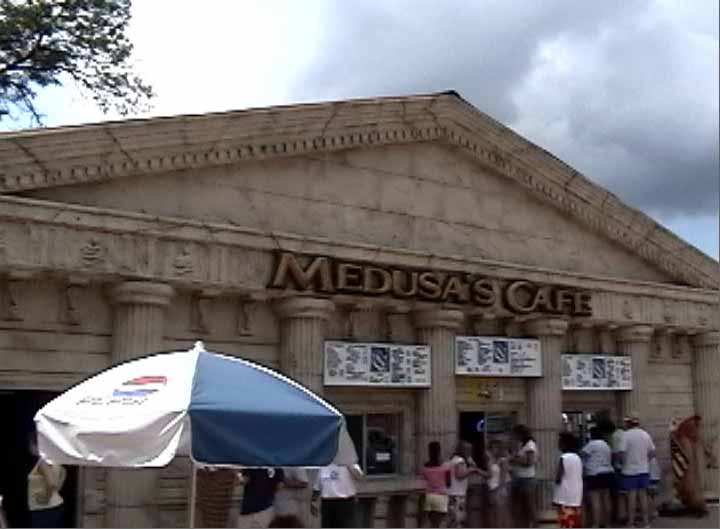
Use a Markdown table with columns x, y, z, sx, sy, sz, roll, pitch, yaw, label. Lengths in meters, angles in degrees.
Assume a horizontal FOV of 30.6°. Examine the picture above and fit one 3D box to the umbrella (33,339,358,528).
| x | y | z | sx | sy | sz | roll | pitch | yaw | label |
| --- | --- | --- | --- | --- | --- | --- | --- | --- | --- |
| -2.578 | 2.345 | 20.262 | 4.492 | 1.559 | 1.217 | 3 | 14 | -4 | umbrella |
